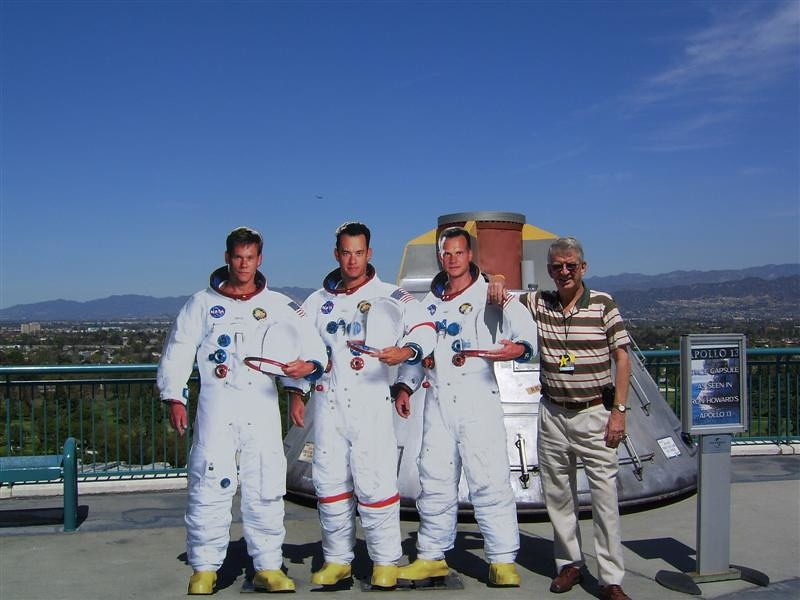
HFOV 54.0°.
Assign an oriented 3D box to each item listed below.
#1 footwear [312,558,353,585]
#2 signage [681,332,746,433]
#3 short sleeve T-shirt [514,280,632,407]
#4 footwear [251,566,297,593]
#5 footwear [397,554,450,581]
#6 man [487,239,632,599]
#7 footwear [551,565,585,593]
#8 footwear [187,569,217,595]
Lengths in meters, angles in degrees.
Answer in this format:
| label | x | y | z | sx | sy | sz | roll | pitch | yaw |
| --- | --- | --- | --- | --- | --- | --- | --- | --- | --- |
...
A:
| label | x | y | z | sx | sy | sz | roll | pitch | yaw |
| --- | --- | --- | --- | --- | --- | --- | --- | --- | --- |
| footwear | -0.618 | 2.473 | 7.118 | 0.172 | 0.147 | 0.339 | -6 | -14 | 28 |
| signage | 2.955 | 0.786 | 7.360 | 0.718 | 0.929 | 0.227 | -2 | 5 | -13 |
| short sleeve T-shirt | 1.586 | 0.429 | 7.264 | 1.034 | 1.073 | 0.538 | 6 | 13 | 33 |
| footwear | -1.146 | 2.512 | 7.026 | 0.173 | 0.146 | 0.357 | 4 | -12 | -37 |
| footwear | 0.208 | 2.490 | 7.288 | 0.506 | 0.228 | 0.182 | 2 | -3 | -7 |
| man | 1.580 | 1.040 | 7.078 | 0.946 | 3.191 | 0.602 | 0 | 5 | 13 |
| footwear | 1.507 | 2.537 | 7.106 | 0.137 | 0.168 | 0.381 | -11 | -12 | 40 |
| footwear | -1.762 | 2.511 | 6.949 | 0.178 | 0.205 | 0.239 | 3 | -27 | -10 |
